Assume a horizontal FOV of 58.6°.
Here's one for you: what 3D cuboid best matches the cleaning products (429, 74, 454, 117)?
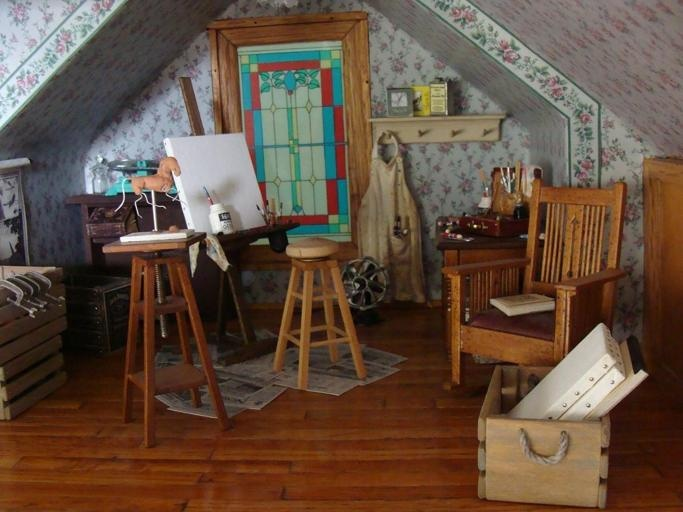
[{"bbox_3d":[0.790,-1.228,4.718,0.226,0.233,0.224,-6,19,-6],"label":"cleaning products"}]

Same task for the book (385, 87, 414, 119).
[{"bbox_3d":[0.457,-1.172,4.672,0.300,0.237,0.071,1,7,4],"label":"book"}]

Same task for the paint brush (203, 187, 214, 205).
[{"bbox_3d":[-0.804,-0.363,3.683,0.032,0.145,0.018,-25,4,-23],"label":"paint brush"}]

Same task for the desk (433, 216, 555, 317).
[{"bbox_3d":[0.986,-0.034,4.071,0.682,0.698,0.802,-3,9,-3],"label":"desk"}]

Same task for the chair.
[{"bbox_3d":[1.067,0.162,3.264,0.778,1.106,0.750,-12,12,-32],"label":"chair"}]

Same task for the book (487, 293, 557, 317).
[{"bbox_3d":[0.979,0.258,3.272,0.294,0.064,0.244,-5,9,-9],"label":"book"}]

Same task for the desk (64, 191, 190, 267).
[{"bbox_3d":[-1.453,-0.196,4.168,0.696,0.545,0.260,-1,7,1],"label":"desk"}]

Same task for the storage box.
[{"bbox_3d":[0.872,0.806,2.713,0.616,0.351,0.623,1,10,11],"label":"storage box"}]

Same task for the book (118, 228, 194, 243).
[{"bbox_3d":[-0.932,-0.099,3.083,0.357,0.047,0.187,-6,9,-14],"label":"book"}]

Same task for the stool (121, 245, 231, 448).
[{"bbox_3d":[-0.978,0.428,3.340,0.525,0.927,0.791,-9,11,-18],"label":"stool"}]
